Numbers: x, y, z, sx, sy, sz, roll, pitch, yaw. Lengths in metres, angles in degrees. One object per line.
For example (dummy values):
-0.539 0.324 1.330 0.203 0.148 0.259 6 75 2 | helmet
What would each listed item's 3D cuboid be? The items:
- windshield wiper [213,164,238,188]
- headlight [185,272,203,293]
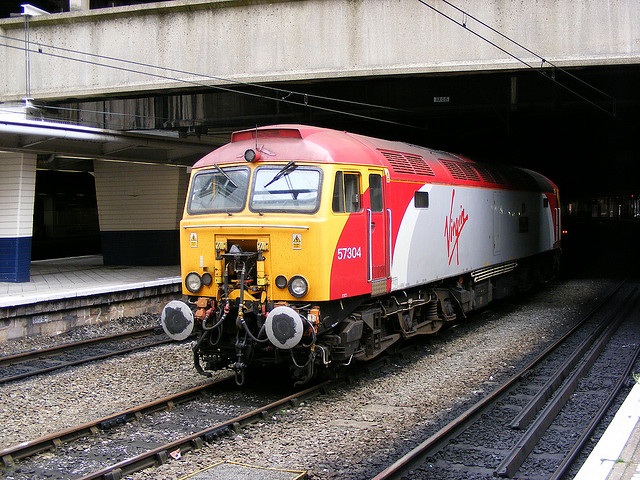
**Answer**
-1.639 -1.131 9.238 0.059 0.525 0.057 -43 -5 33 | windshield wiper
-2.165 0.736 9.078 0.311 0.350 0.188 0 -4 27 | headlight
